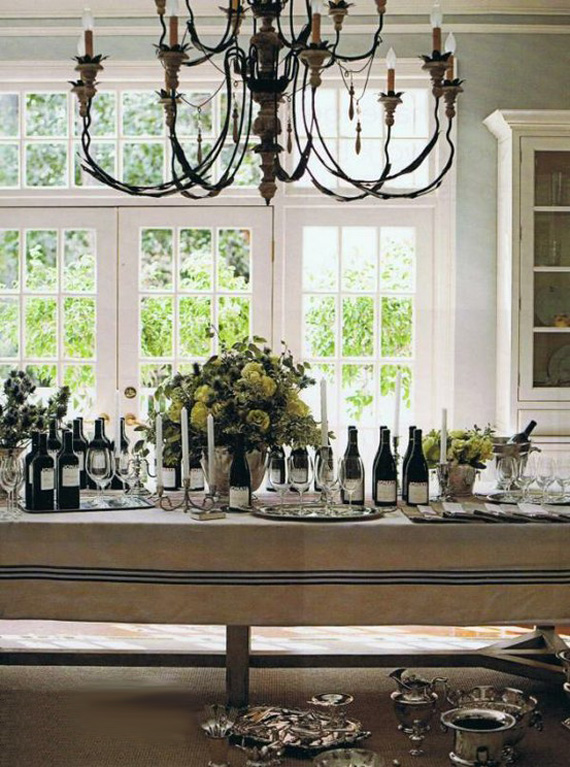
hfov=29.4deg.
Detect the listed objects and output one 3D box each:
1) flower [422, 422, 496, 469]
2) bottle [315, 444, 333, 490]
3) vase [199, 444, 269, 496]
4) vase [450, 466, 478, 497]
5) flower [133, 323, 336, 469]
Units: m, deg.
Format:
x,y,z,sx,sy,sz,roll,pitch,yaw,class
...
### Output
x,y,z,sx,sy,sz,roll,pitch,yaw,class
0.577,0.182,3.577,0.167,0.115,0.173,2,5,33,flower
0.118,0.254,3.198,0.057,0.150,0.165,-1,3,2,bottle
-0.156,0.280,3.566,0.172,0.123,0.181,0,-10,-1,vase
0.588,0.317,3.574,0.087,0.075,0.100,0,-7,-1,vase
-0.170,0.053,3.622,0.507,0.429,0.498,4,0,-22,flower
